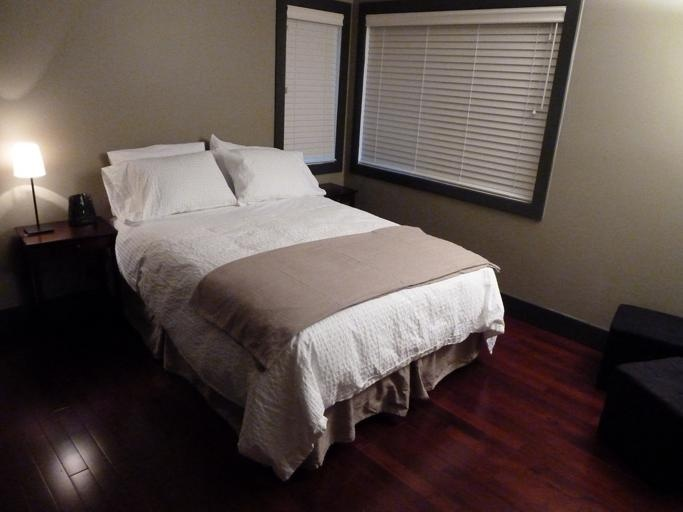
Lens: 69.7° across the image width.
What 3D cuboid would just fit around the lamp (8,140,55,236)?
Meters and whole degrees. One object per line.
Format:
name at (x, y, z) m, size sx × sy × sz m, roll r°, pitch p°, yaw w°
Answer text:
lamp at (-2.244, -0.500, 3.555) m, size 0.228 × 0.627 × 0.376 m, roll -14°, pitch 28°, yaw -29°

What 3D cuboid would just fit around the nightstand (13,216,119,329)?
nightstand at (-2.000, 0.143, 3.795) m, size 0.809 × 0.834 × 0.762 m, roll -11°, pitch 22°, yaw -33°

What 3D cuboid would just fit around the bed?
bed at (-0.500, 0.522, 3.568) m, size 1.878 × 1.315 × 2.644 m, roll -20°, pitch 33°, yaw -37°

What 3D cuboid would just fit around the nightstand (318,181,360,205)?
nightstand at (-0.055, -0.678, 5.106) m, size 0.273 × 0.280 × 0.277 m, roll -15°, pitch 35°, yaw -32°
